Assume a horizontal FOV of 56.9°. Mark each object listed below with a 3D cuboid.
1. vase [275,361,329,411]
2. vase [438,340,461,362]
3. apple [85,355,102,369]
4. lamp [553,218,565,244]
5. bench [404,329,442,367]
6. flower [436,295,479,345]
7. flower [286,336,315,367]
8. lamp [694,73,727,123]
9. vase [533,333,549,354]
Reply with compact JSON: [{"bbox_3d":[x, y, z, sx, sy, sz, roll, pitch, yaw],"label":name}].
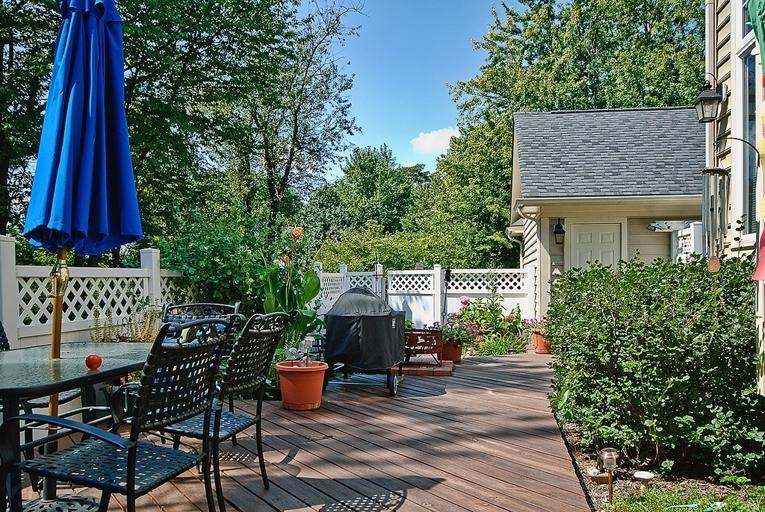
[{"bbox_3d":[-0.961,1.517,8.238,0.573,0.419,0.574,0,-5,-3],"label":"vase"},{"bbox_3d":[1.062,1.485,11.036,0.331,0.253,0.326,6,-11,-36],"label":"vase"},{"bbox_3d":[-2.389,0.870,5.831,0.114,0.117,0.118,9,-6,35],"label":"apple"},{"bbox_3d":[3.116,-0.435,12.468,0.205,0.464,0.177,2,9,15],"label":"lamp"},{"bbox_3d":[0.604,1.340,10.416,0.457,0.364,0.591,0,-11,-1],"label":"bench"},{"bbox_3d":[1.364,1.137,12.059,0.702,0.930,0.775,3,-7,-6],"label":"flower"},{"bbox_3d":[-0.931,1.128,8.365,0.290,0.364,0.348,18,-10,-34],"label":"flower"},{"bbox_3d":[3.835,-1.834,8.291,0.311,0.491,0.440,3,9,18],"label":"lamp"},{"bbox_3d":[2.736,1.496,12.184,0.283,0.408,0.734,2,8,11],"label":"vase"}]
